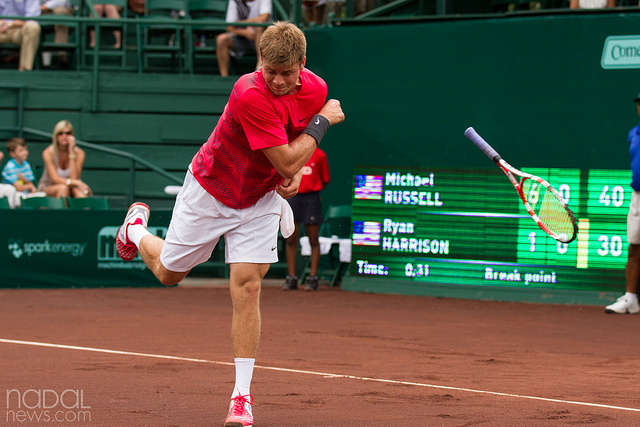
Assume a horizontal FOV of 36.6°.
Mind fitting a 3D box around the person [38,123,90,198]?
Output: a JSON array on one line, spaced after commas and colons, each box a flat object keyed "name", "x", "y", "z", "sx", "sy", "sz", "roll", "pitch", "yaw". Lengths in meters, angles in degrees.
[{"name": "person", "x": -3.780, "y": -0.535, "z": 14.367, "sx": 0.629, "sy": 1.663, "sz": 0.866, "roll": -2, "pitch": 7, "yaw": -35}]

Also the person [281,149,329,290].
[{"name": "person", "x": -0.188, "y": -0.099, "z": 13.675, "sx": 0.590, "sy": 2.388, "sz": 0.792, "roll": 5, "pitch": 5, "yaw": 6}]

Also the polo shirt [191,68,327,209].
[{"name": "polo shirt", "x": -0.589, "y": -0.702, "z": 8.933, "sx": 0.910, "sy": 1.340, "sz": 1.064, "roll": 36, "pitch": 29, "yaw": 19}]

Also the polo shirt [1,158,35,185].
[{"name": "polo shirt", "x": -4.434, "y": -0.616, "z": 14.353, "sx": 0.547, "sy": 0.446, "sz": 0.310, "roll": -2, "pitch": 0, "yaw": -37}]
